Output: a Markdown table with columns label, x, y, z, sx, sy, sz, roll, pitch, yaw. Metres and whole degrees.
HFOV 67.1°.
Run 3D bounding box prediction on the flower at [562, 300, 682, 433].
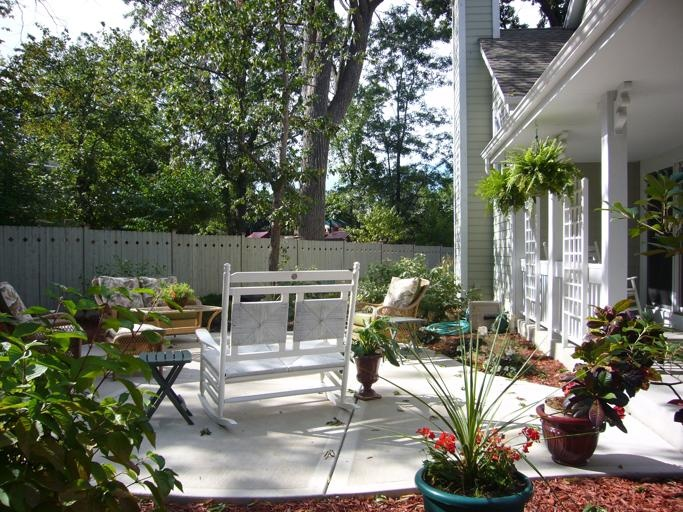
| label | x | y | z | sx | sy | sz | roll | pitch | yaw |
| --- | --- | --- | --- | --- | --- | --- | --- | --- | --- |
| flower | 2.118 | 0.862 | 3.928 | 0.622 | 0.848 | 0.724 | -7 | 30 | 21 |

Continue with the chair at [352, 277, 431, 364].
| label | x | y | z | sx | sy | sz | roll | pitch | yaw |
| --- | --- | --- | --- | --- | --- | --- | --- | --- | --- |
| chair | 0.717 | 0.768 | 7.099 | 1.138 | 1.221 | 0.902 | 6 | -9 | -27 |

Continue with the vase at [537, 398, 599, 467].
| label | x | y | z | sx | sy | sz | roll | pitch | yaw |
| --- | --- | --- | --- | --- | --- | --- | --- | --- | --- |
| vase | 1.620 | 1.312 | 3.695 | 0.455 | 0.325 | 0.445 | 4 | -11 | -31 |

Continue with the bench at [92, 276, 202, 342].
| label | x | y | z | sx | sy | sz | roll | pitch | yaw |
| --- | --- | --- | --- | --- | --- | --- | --- | --- | --- |
| bench | -2.294 | 0.621 | 6.148 | 1.055 | 0.675 | 0.673 | 9 | -9 | -41 |

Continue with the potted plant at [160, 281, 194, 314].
| label | x | y | z | sx | sy | sz | roll | pitch | yaw |
| --- | --- | --- | --- | --- | --- | --- | --- | --- | --- |
| potted plant | -2.371 | 0.587 | 7.372 | 0.509 | 0.359 | 0.511 | 2 | -10 | -8 |

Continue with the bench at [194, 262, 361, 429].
| label | x | y | z | sx | sy | sz | roll | pitch | yaw |
| --- | --- | --- | --- | --- | --- | --- | --- | --- | --- |
| bench | -0.659 | 0.760 | 4.946 | 1.435 | 1.443 | 1.144 | 0 | 1 | -34 |
